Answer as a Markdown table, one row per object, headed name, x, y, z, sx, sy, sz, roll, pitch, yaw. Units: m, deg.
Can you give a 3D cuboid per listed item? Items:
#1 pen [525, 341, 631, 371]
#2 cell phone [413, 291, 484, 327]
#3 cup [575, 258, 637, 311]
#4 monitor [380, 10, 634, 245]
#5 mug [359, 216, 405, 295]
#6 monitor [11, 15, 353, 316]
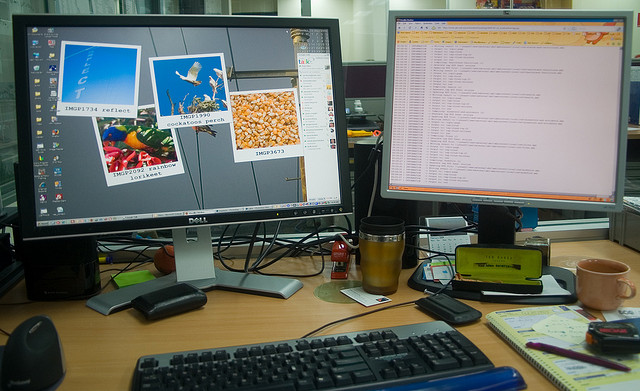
| name | x | y | z | sx | sy | sz | roll | pitch | yaw |
| --- | --- | --- | --- | --- | --- | --- | --- | --- | --- |
| pen | 0.587 | 0.369 | 1.117 | 0.023 | 0.019 | 0.229 | -9 | 6 | -38 |
| cell phone | 0.343 | 0.296 | 1.271 | 0.085 | 0.021 | 0.113 | -10 | 19 | -25 |
| cup | 0.737 | 0.239 | 1.316 | 0.132 | 0.128 | 0.149 | -1 | 8 | 1 |
| monitor | 0.516 | -0.210 | 1.373 | 0.849 | 0.762 | 0.266 | 3 | 4 | 7 |
| mug | 0.168 | 0.158 | 1.355 | 0.175 | 0.193 | 0.203 | 0 | 7 | 3 |
| monitor | -0.395 | -0.097 | 1.349 | 0.994 | 0.760 | 0.265 | -2 | 6 | -12 |
